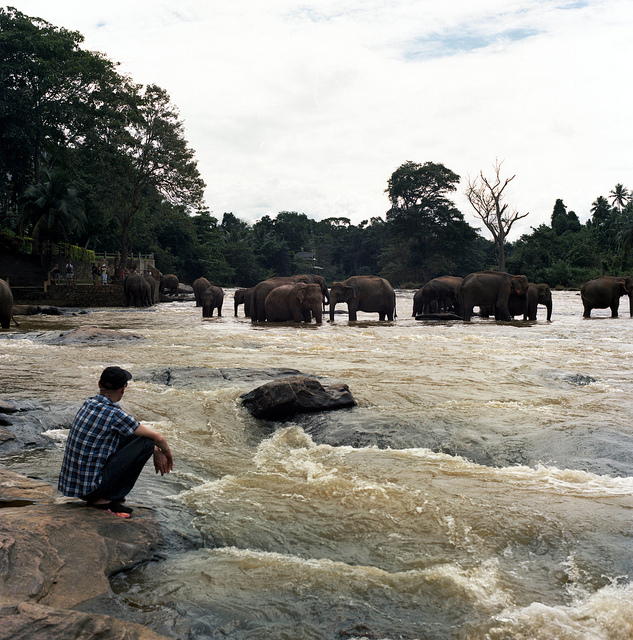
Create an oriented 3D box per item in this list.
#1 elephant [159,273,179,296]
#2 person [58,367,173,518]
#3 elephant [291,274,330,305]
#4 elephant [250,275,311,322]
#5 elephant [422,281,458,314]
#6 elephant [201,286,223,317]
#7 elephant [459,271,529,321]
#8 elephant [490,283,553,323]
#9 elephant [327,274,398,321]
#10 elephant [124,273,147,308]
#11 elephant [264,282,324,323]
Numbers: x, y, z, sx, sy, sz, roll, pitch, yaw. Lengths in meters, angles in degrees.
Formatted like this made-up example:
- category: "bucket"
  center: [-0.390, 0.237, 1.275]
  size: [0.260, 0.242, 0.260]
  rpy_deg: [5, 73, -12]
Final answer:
- category: "elephant"
  center: [-10.112, -2.435, 45.478]
  size: [1.161, 1.507, 2.696]
  rpy_deg: [4, -2, -7]
- category: "person"
  center: [-1.185, 0.711, 3.865]
  size: [0.513, 0.876, 0.246]
  rpy_deg: [5, -1, -32]
- category: "elephant"
  center: [0.030, -1.285, 26.117]
  size: [1.719, 0.996, 0.833]
  rpy_deg: [0, 9, -41]
- category: "elephant"
  center: [-0.884, -0.526, 22.354]
  size: [2.599, 1.548, 1.119]
  rpy_deg: [3, 20, -7]
- category: "elephant"
  center: [4.974, -0.901, 27.163]
  size: [1.406, 1.086, 1.570]
  rpy_deg: [4, -1, 8]
- category: "elephant"
  center: [-3.984, -0.702, 25.380]
  size: [0.660, 1.152, 2.396]
  rpy_deg: [4, -2, -7]
- category: "elephant"
  center: [6.013, -0.793, 22.637]
  size: [2.194, 1.398, 0.881]
  rpy_deg: [3, -1, 10]
- category: "elephant"
  center: [7.526, -0.623, 23.236]
  size: [2.522, 1.382, 1.127]
  rpy_deg: [-6, 9, -31]
- category: "elephant"
  center: [1.685, -0.811, 23.951]
  size: [2.314, 1.531, 3.545]
  rpy_deg: [4, -2, 5]
- category: "elephant"
  center: [-8.277, -1.339, 30.369]
  size: [0.976, 1.566, 1.300]
  rpy_deg: [4, -1, 1]
- category: "elephant"
  center: [-0.711, -0.363, 21.119]
  size: [2.276, 1.489, 0.911]
  rpy_deg: [3, 4, 33]
